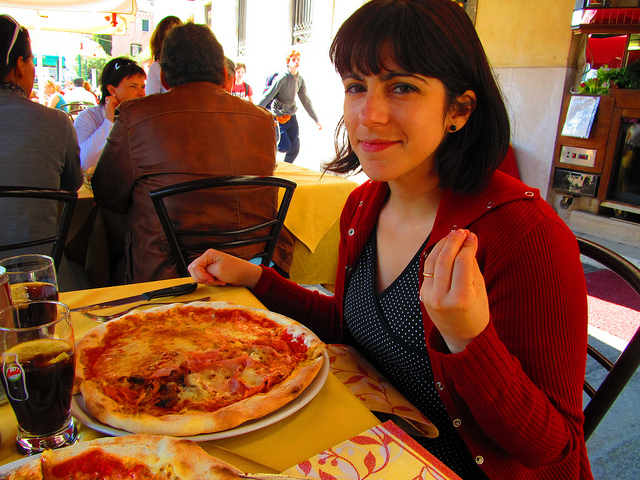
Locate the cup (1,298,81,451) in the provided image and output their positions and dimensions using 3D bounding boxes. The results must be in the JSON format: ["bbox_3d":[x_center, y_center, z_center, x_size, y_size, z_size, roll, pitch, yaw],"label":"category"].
[{"bbox_3d":[-0.459,0.216,0.739,0.110,0.207,0.154,-9,18,-32],"label":"cup"}]

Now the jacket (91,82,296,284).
[{"bbox_3d":[-0.622,-0.215,2.176,0.695,0.970,0.661,-5,19,-28],"label":"jacket"}]

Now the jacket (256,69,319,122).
[{"bbox_3d":[-0.370,-1.930,5.971,0.877,0.903,0.679,-11,25,-31],"label":"jacket"}]

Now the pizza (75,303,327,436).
[{"bbox_3d":[-0.242,0.241,0.913,0.481,0.079,0.497,3,16,-7],"label":"pizza"}]

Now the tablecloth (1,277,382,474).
[{"bbox_3d":[-0.211,0.233,1.001,0.660,0.257,0.690,7,10,42],"label":"tablecloth"}]

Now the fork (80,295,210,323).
[{"bbox_3d":[-0.418,0.164,1.061,0.310,0.037,0.035,-1,25,-6],"label":"fork"}]

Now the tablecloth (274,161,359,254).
[{"bbox_3d":[-0.066,-0.237,2.555,0.361,0.504,0.419,-9,21,-37],"label":"tablecloth"}]

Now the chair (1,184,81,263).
[{"bbox_3d":[-1.067,-0.072,1.711,0.248,0.404,0.248,-4,52,-37],"label":"chair"}]
